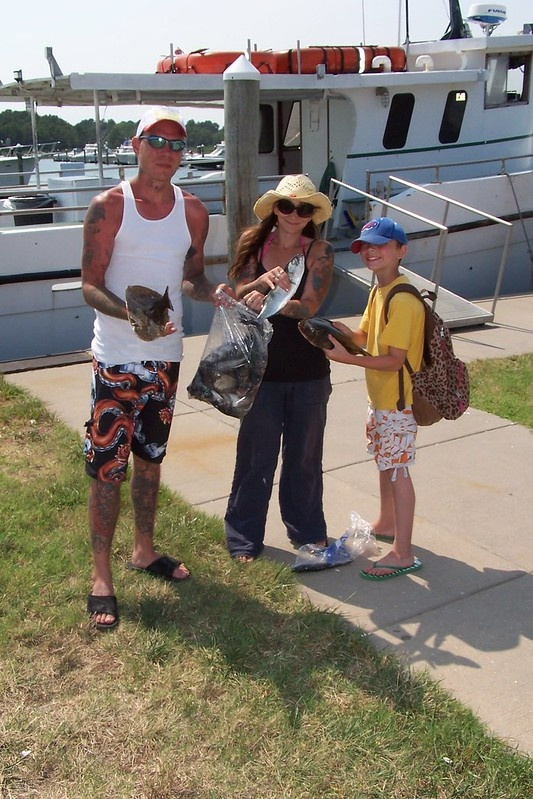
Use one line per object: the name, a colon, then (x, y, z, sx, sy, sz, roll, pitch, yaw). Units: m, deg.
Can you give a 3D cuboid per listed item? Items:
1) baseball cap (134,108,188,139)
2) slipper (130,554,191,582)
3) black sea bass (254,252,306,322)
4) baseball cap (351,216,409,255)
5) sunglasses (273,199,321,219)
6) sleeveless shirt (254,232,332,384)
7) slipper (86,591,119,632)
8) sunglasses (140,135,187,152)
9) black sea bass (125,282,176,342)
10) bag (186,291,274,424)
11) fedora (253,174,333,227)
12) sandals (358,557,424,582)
baseball cap: (-0.384, -1.028, 2.598, 0.190, 0.127, 0.338, 0, 14, -11)
slipper: (-0.464, 0.731, 3.091, 0.246, 0.067, 0.101, 4, 16, 22)
black sea bass: (0.077, -0.465, 2.913, 0.123, 0.265, 0.258, 11, 16, 25)
baseball cap: (0.484, -0.710, 3.053, 0.227, 0.108, 0.145, -1, 11, -21)
sunglasses: (0.112, -0.796, 2.960, 0.164, 0.070, 0.098, 4, 14, 6)
sleeveless shirt: (0.142, -0.349, 3.090, 0.354, 0.731, 0.193, 4, 21, 1)
slipper: (-0.622, 0.803, 2.688, 0.120, 0.077, 0.306, 1, -2, -14)
sunglasses: (-0.378, -0.938, 2.604, 0.163, 0.053, 0.070, 1, 14, -9)
black sea bass: (-0.432, -0.318, 2.576, 0.075, 0.174, 0.216, -6, -16, 42)
bag: (-0.112, -0.176, 2.934, 0.391, 0.482, 0.205, 6, 31, 12)
fedora: (0.147, -0.878, 3.001, 0.305, 0.128, 0.288, 8, 12, -2)
sandals: (0.581, 0.757, 3.203, 0.249, 0.050, 0.093, -2, 10, -12)
